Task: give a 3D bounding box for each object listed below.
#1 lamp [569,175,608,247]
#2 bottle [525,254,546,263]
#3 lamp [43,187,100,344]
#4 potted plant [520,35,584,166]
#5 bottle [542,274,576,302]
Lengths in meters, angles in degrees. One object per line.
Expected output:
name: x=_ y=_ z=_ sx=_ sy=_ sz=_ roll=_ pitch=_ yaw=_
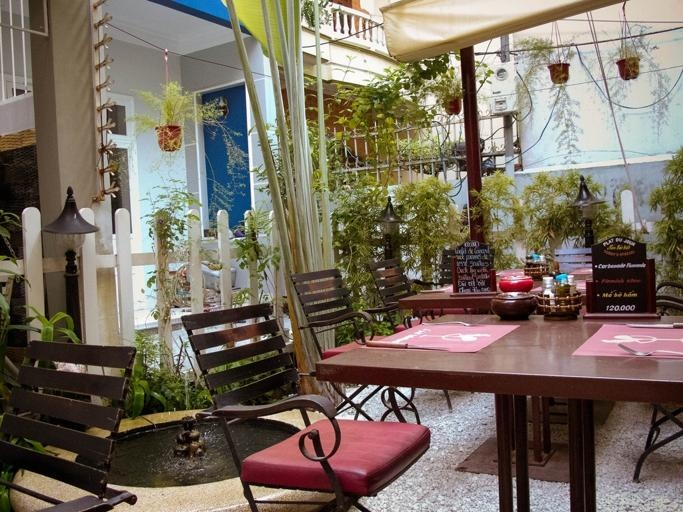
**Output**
lamp: x=2.465 y=-0.466 z=5.612 sx=0.268 sy=0.728 sz=0.700 roll=-5 pitch=3 yaw=24
bottle: x=1.410 y=0.023 z=4.128 sx=0.134 sy=0.051 sz=0.130 roll=-1 pitch=-3 yaw=0
lamp: x=-1.838 y=0.055 z=3.875 sx=0.318 sy=1.019 sz=0.467 roll=-8 pitch=3 yaw=-26
potted plant: x=3.006 y=-2.263 z=8.191 sx=0.842 sy=1.788 sz=0.644 roll=-5 pitch=3 yaw=22
bottle: x=1.002 y=0.148 z=2.643 sx=0.153 sy=0.146 sz=0.087 roll=-2 pitch=1 yaw=33
